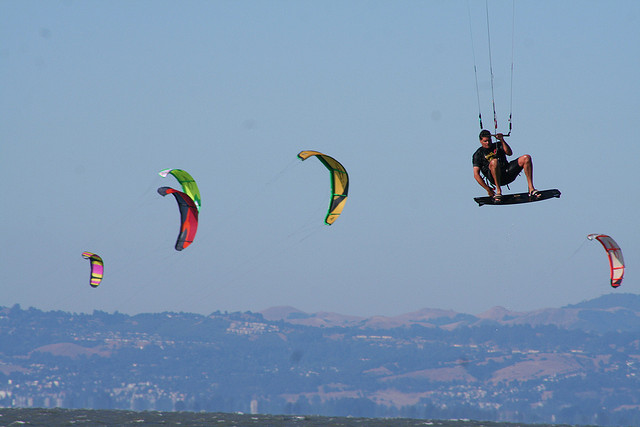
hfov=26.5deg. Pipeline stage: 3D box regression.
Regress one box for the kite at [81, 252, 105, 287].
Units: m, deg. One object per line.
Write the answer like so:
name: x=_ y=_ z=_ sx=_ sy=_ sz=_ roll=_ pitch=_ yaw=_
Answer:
kite: x=-15.059 y=3.629 z=90.251 sx=1.591 sy=2.267 sz=1.523 roll=2 pitch=-6 yaw=-34
